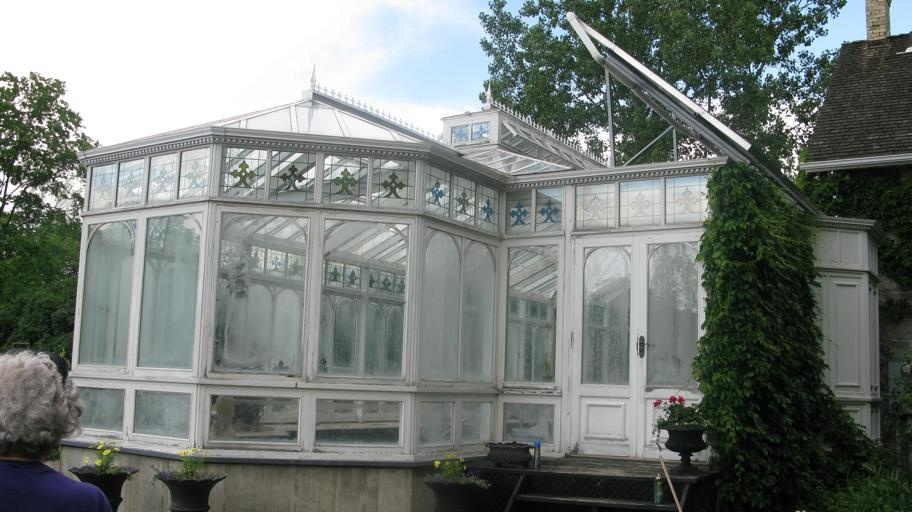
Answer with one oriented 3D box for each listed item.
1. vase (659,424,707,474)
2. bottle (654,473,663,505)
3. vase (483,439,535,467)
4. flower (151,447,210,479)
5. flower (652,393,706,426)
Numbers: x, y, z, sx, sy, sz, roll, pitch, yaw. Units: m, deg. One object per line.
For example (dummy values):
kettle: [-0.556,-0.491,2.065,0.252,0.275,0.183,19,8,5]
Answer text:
vase: [4.987,4.100,20.122,1.187,0.885,1.158,8,-12,-44]
bottle: [4.178,4.741,19.140,0.193,0.580,0.366,-6,-15,19]
vase: [1.239,4.256,20.189,0.675,0.267,0.653,3,-7,-28]
flower: [-5.659,4.214,19.238,0.996,0.453,0.680,-2,-11,4]
flower: [4.779,3.259,20.438,0.792,0.461,0.609,-10,-8,-3]
